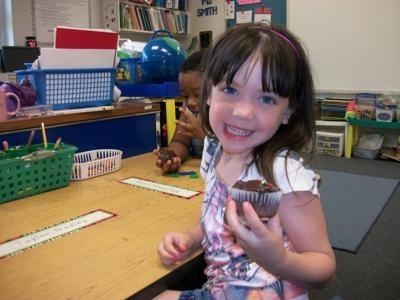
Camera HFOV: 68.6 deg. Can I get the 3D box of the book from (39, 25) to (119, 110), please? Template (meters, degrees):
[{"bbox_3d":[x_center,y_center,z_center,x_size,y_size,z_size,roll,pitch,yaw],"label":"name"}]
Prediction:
[{"bbox_3d":[-0.654,-0.397,1.497,0.231,0.427,0.409,13,20,27],"label":"book"}]

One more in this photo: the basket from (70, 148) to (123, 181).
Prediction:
[{"bbox_3d":[-0.498,0.027,1.373,0.202,0.128,0.257,19,17,41],"label":"basket"}]

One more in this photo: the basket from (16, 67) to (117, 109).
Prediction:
[{"bbox_3d":[-0.653,-0.301,1.449,0.393,0.173,0.262,-10,16,-35],"label":"basket"}]
